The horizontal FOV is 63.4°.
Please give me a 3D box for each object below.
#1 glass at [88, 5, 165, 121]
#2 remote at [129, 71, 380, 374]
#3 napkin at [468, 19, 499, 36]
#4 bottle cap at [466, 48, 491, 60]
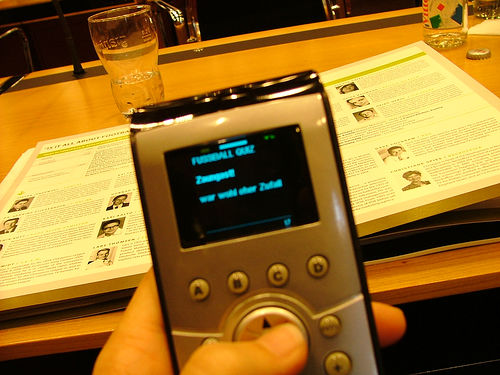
[{"bbox_3d":[-0.225,-0.241,0.778,0.122,0.175,0.139,-16,33,-15],"label":"glass"},{"bbox_3d":[0.000,0.042,0.362,0.183,0.234,0.167,-11,32,-7],"label":"remote"},{"bbox_3d":[0.494,-0.335,0.868,0.059,0.007,0.064,6,45,23],"label":"napkin"},{"bbox_3d":[0.415,-0.245,0.737,0.028,0.008,0.030,-34,38,-31],"label":"bottle cap"}]
